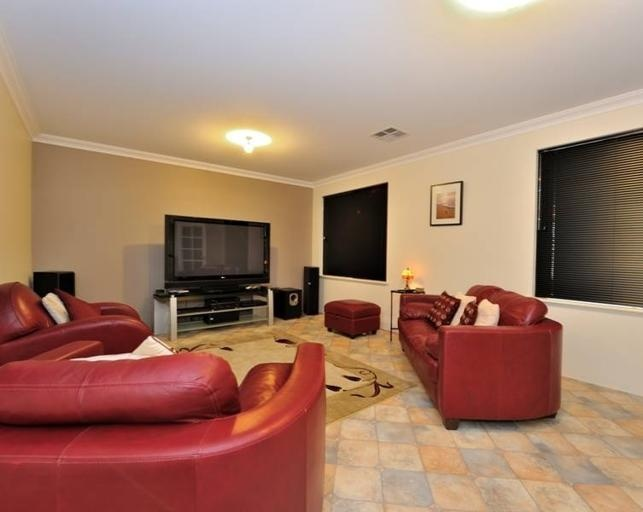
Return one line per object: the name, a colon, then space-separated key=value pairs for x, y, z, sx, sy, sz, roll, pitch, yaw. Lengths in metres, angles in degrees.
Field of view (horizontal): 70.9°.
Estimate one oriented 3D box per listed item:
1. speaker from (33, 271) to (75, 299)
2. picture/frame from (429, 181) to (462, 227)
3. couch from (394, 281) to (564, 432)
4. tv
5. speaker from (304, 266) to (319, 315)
speaker: x=-2.765 y=0.296 z=4.621 sx=0.142 sy=0.254 sz=0.274 roll=-2 pitch=-1 yaw=9
picture/frame: x=1.490 y=-0.622 z=5.380 sx=0.052 sy=0.671 sz=0.597 roll=2 pitch=-2 yaw=-34
couch: x=1.315 y=0.807 z=3.918 sx=0.987 sy=0.991 sz=1.232 roll=1 pitch=0 yaw=-5
tv: x=-1.478 y=-0.020 z=6.158 sx=1.170 sy=0.711 sz=0.118 roll=2 pitch=-2 yaw=-43
speaker: x=-0.171 y=0.572 z=7.422 sx=0.273 sy=0.781 sz=0.374 roll=1 pitch=1 yaw=-1
